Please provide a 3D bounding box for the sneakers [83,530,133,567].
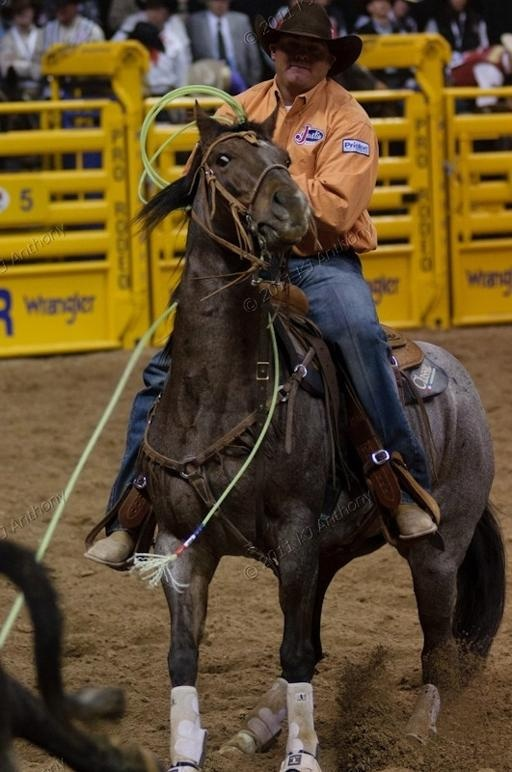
[{"bbox_3d":[-0.527,0.583,3.583,0.096,0.076,0.188,17,0,11],"label":"sneakers"}]
